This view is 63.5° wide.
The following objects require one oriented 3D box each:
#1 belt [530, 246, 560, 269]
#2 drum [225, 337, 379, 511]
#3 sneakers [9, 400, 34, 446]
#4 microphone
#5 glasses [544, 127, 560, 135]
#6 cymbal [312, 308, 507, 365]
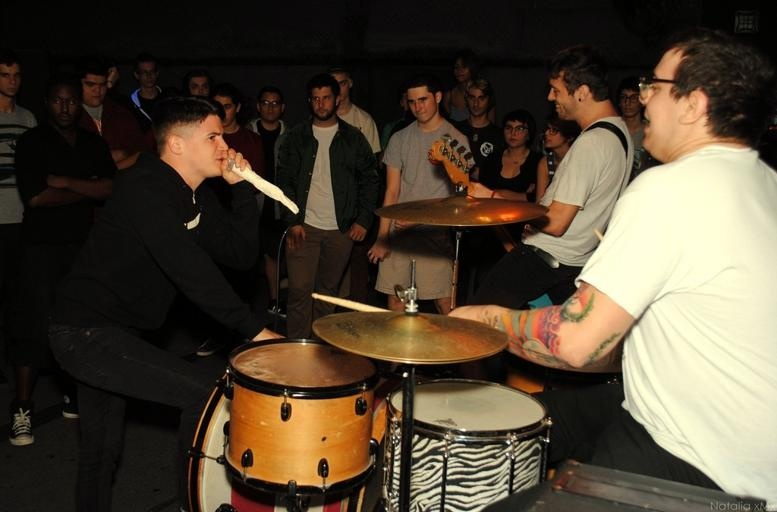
[{"bbox_3d":[1.093,0.001,4.449,0.274,0.069,0.028,42,12,25],"label":"belt"},{"bbox_3d":[-0.525,0.828,3.268,0.863,0.573,0.838,4,16,-1],"label":"drum"},{"bbox_3d":[-2.703,1.233,4.623,0.174,0.267,0.237,-8,17,-31],"label":"sneakers"},{"bbox_3d":[-0.755,-0.435,3.745,0.465,0.103,0.099,29,51,35],"label":"microphone"},{"bbox_3d":[1.484,-1.140,5.704,0.108,0.108,0.034,6,49,29],"label":"glasses"},{"bbox_3d":[0.069,0.362,2.779,0.441,0.099,0.430,9,17,12],"label":"cymbal"}]
